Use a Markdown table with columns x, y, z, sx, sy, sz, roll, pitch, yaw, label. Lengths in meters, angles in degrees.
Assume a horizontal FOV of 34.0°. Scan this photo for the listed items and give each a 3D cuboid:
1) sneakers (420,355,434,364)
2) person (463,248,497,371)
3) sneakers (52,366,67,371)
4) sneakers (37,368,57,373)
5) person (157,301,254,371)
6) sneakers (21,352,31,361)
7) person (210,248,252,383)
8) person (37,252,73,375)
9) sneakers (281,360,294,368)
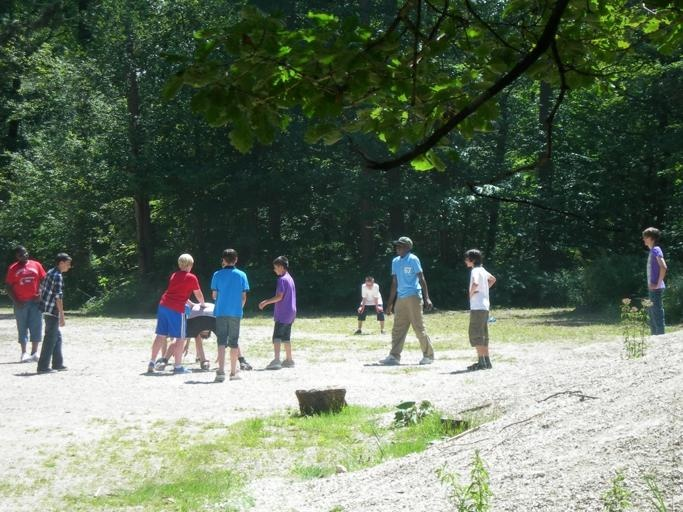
| x | y | z | sx | sy | sz | roll | pitch | yaw | label |
| --- | --- | --- | --- | --- | --- | --- | --- | --- | --- |
| 2.078 | 2.565 | 27.616 | 0.284 | 0.198 | 0.170 | 4 | -3 | 0 | sneakers |
| 3.273 | 1.247 | 26.683 | 0.685 | 2.895 | 0.966 | -3 | -4 | 8 | person |
| -6.943 | 2.741 | 27.290 | 0.304 | 0.127 | 0.106 | -3 | -3 | -11 | sneakers |
| -7.192 | 2.759 | 26.978 | 0.376 | 0.167 | 0.130 | -1 | -2 | -9 | sneakers |
| -3.658 | 1.805 | 28.024 | 1.507 | 2.175 | 0.716 | 7 | -45 | -16 | person |
| -8.025 | 2.548 | 28.284 | 0.173 | 0.196 | 0.291 | 3 | -16 | -36 | sneakers |
| -2.692 | 1.373 | 26.639 | 0.810 | 3.178 | 1.087 | -2 | -4 | -6 | person |
| -7.072 | 1.363 | 27.259 | 0.840 | 2.940 | 0.865 | -2 | -4 | -15 | person |
| -1.360 | 2.677 | 27.792 | 0.291 | 0.131 | 0.152 | 4 | 6 | 34 | sneakers |
